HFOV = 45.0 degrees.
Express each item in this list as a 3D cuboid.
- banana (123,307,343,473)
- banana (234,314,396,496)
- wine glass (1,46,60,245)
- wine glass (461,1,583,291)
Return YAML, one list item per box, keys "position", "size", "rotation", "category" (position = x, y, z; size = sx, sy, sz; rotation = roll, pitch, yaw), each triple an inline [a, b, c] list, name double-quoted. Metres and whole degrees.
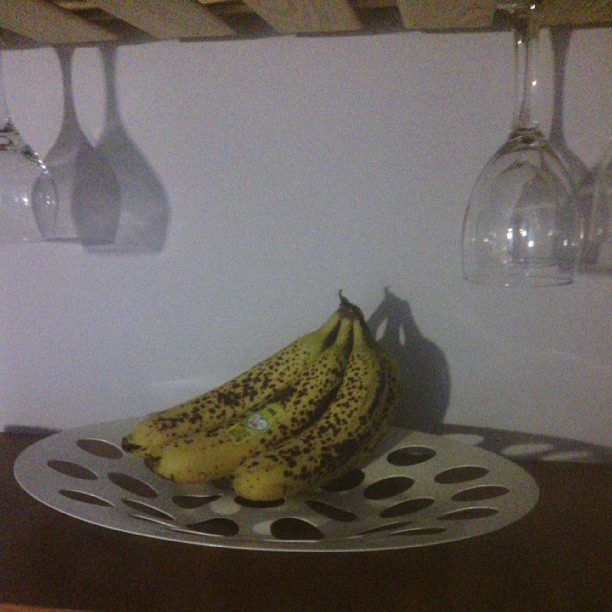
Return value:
- position: [-0.066, 0.136, 1.024]
  size: [0.144, 0.413, 0.072]
  rotation: [44, 26, -27]
  category: "banana"
- position: [0.025, 0.112, 0.884]
  size: [0.105, 0.181, 0.234]
  rotation: [3, 6, 31]
  category: "banana"
- position: [-0.388, -0.190, 1.017]
  size: [0.079, 0.202, 0.133]
  rotation: [-3, 6, -16]
  category: "wine glass"
- position: [0.290, -0.201, 0.973]
  size: [0.157, 0.369, 0.124]
  rotation: [1, 7, 12]
  category: "wine glass"
